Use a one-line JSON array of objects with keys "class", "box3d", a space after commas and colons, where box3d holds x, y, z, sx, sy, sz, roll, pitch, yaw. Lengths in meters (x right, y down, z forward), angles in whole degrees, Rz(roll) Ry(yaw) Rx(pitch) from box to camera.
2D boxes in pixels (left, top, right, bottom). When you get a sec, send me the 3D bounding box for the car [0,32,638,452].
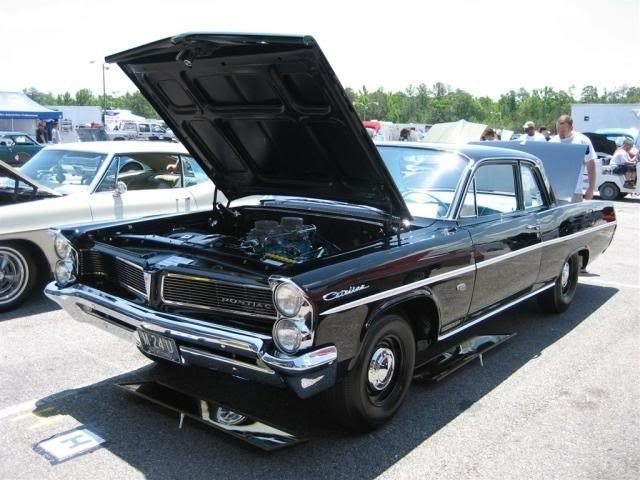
[{"class": "car", "box3d": [0.523, -0.265, 4.505, 4.971, 1.736, 2.669, -9, 11, -43]}]
